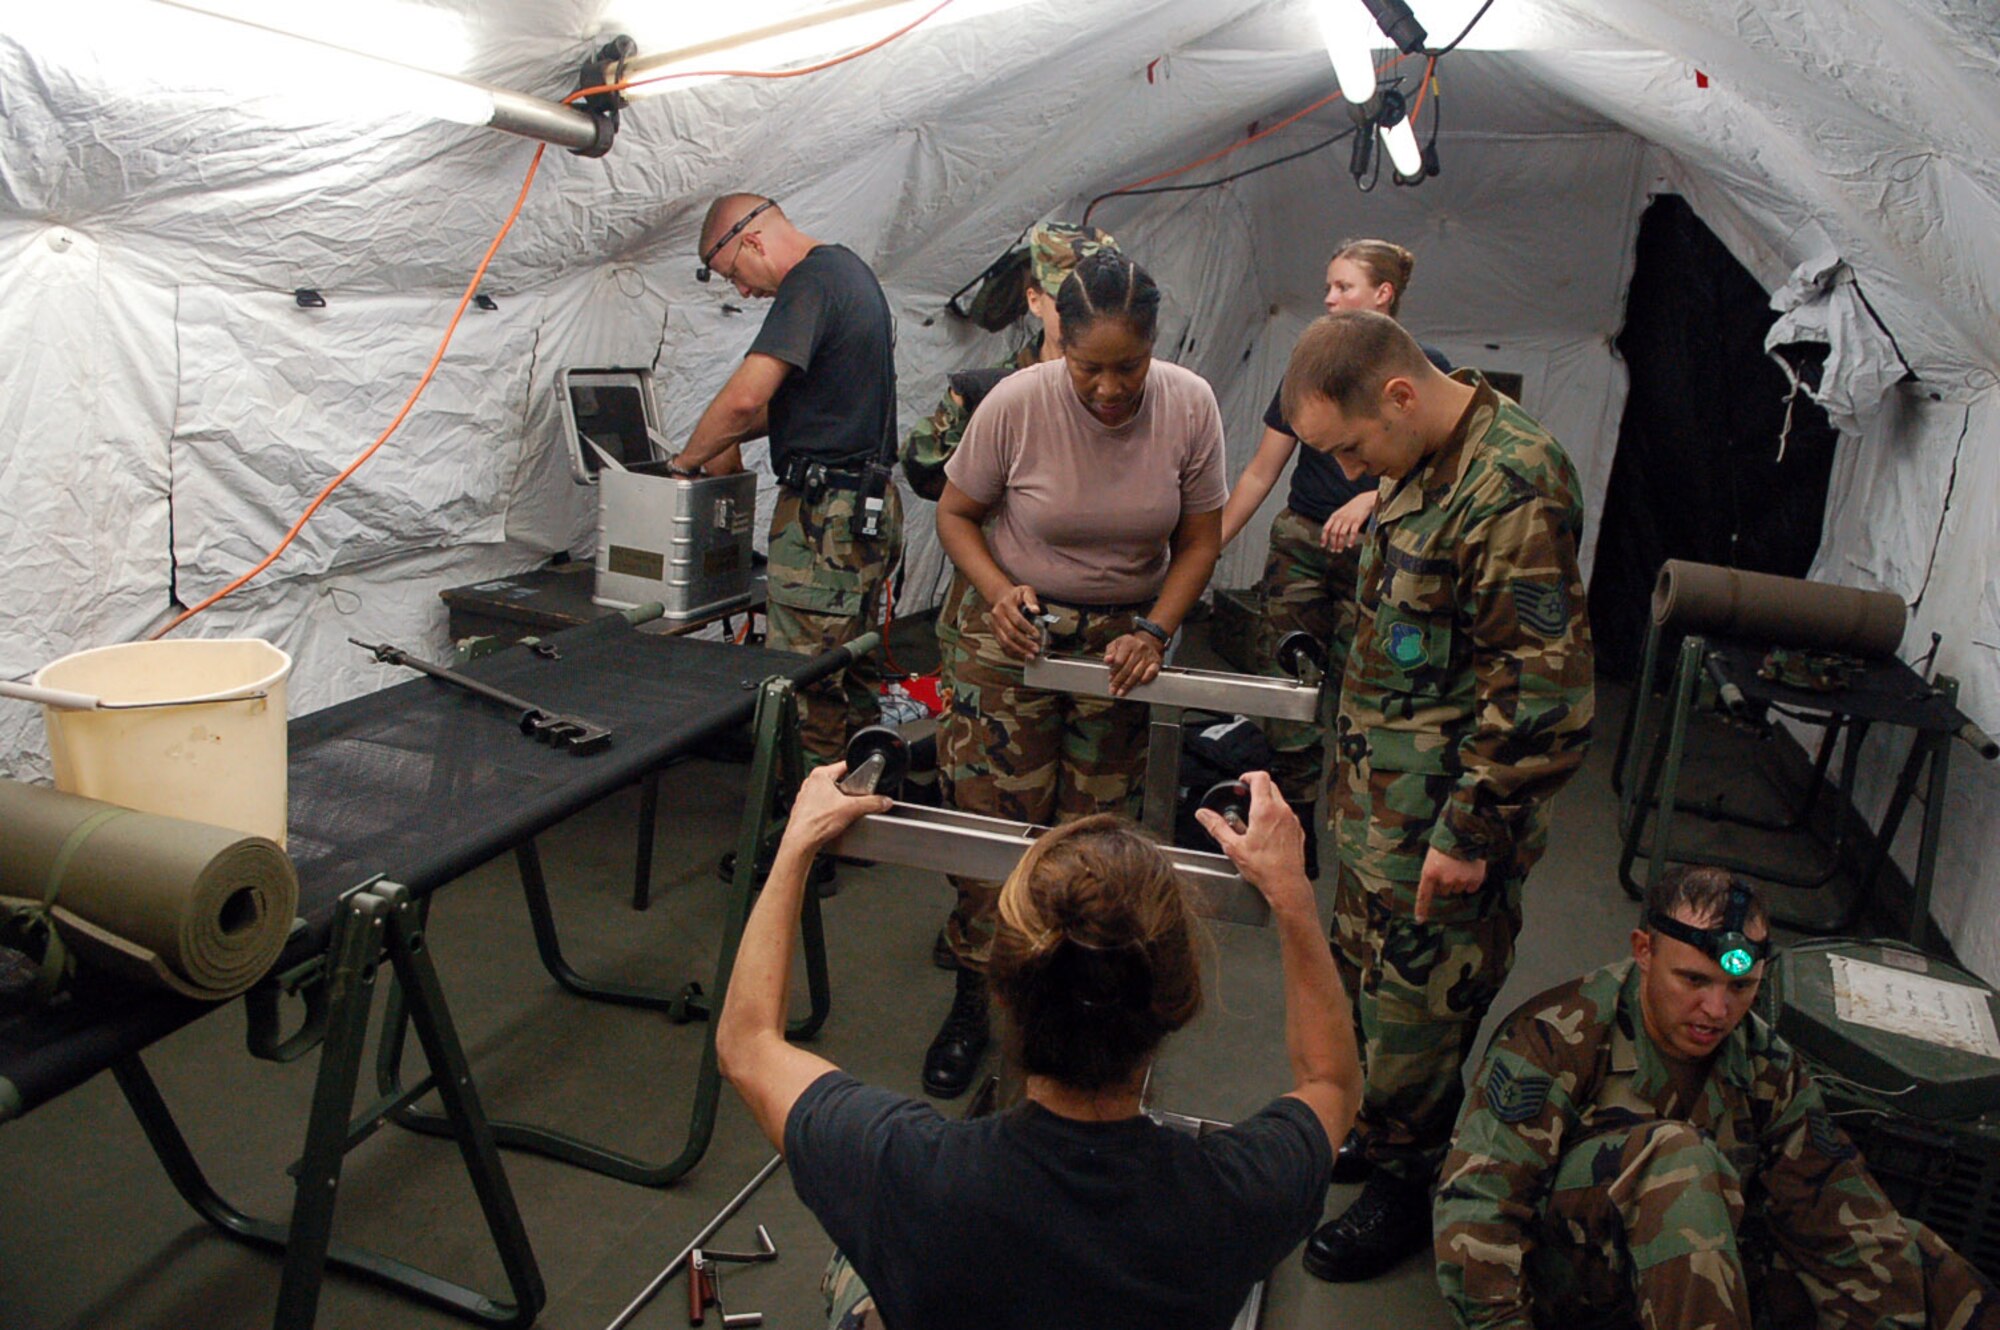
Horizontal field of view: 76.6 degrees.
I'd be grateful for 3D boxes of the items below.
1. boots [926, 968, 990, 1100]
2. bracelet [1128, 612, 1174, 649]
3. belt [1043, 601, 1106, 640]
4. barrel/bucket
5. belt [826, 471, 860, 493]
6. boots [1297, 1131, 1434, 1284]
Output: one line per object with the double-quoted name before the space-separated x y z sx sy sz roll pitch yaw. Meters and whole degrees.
"boots" -0.147 0.953 3.307 0.118 0.200 0.334 7 14 -6
"bracelet" 0.344 -0.086 2.854 0.093 0.084 0.059 25 39 3
"belt" 0.183 -0.099 2.994 0.096 0.049 0.128 2 12 -3
"barrel/bucket" -1.355 0.110 2.066 0.367 0.304 0.448 5 8 -19
"belt" -0.464 -0.553 3.759 0.100 0.063 0.052 2 -15 -10
"boots" 0.880 1.223 2.950 0.442 0.255 0.157 -5 14 -33
